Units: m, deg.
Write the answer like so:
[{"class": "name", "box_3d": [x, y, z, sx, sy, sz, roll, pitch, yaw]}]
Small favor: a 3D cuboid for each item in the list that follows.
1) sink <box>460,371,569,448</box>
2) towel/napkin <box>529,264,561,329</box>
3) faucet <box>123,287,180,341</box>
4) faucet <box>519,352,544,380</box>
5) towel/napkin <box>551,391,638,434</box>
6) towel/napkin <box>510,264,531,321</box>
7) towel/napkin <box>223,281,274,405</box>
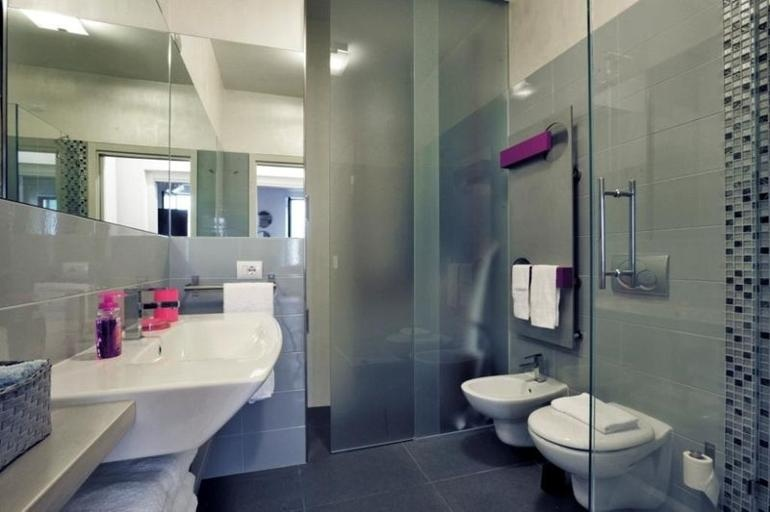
[{"class": "sink", "box_3d": [0.752, 0.859, 3.289, 0.486, 0.329, 0.464, -2, 3, -16]}, {"class": "towel/napkin", "box_3d": [0.919, 0.229, 3.217, 0.068, 0.345, 0.209, -4, 4, -37]}, {"class": "faucet", "box_3d": [-1.084, 0.242, 2.651, 0.114, 0.187, 0.214, -2, -1, 42]}, {"class": "faucet", "box_3d": [0.847, 0.669, 3.334, 0.149, 0.168, 0.119, 2, -3, -10]}, {"class": "towel/napkin", "box_3d": [0.935, 0.707, 2.475, 0.319, 0.085, 0.318, -3, 10, -29]}, {"class": "towel/napkin", "box_3d": [0.821, 0.225, 3.416, 0.071, 0.353, 0.250, -2, 3, -11]}, {"class": "towel/napkin", "box_3d": [-0.739, 0.384, 3.027, 0.364, 0.728, 0.169, -2, 7, -26]}]
